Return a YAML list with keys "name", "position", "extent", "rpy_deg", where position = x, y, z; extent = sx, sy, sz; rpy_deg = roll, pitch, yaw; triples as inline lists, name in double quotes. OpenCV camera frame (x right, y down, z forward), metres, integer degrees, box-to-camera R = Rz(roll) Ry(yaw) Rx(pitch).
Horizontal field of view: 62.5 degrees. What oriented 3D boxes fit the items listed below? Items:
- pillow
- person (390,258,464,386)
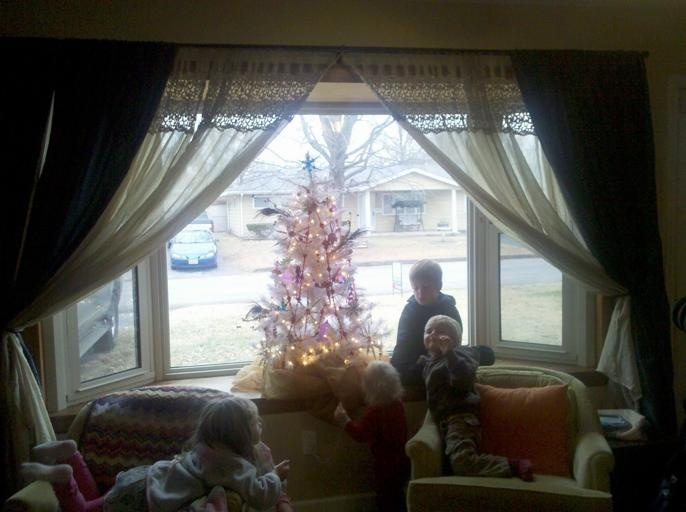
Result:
- name: "pillow"
  position: [0.964, 0.917, 3.004]
  extent: [0.481, 0.466, 0.166]
  rpy_deg: [-3, -15, 21]
- name: "person"
  position: [0.506, 0.576, 3.321]
  extent: [0.469, 1.055, 0.334]
  rpy_deg: [-2, -17, 7]
